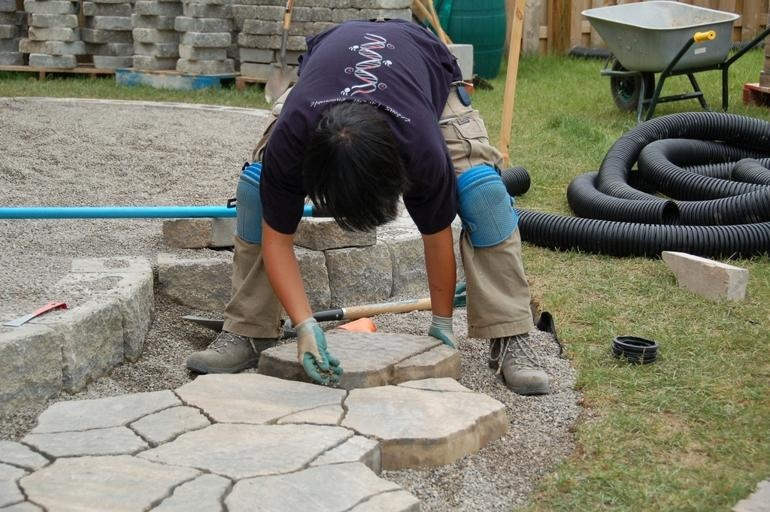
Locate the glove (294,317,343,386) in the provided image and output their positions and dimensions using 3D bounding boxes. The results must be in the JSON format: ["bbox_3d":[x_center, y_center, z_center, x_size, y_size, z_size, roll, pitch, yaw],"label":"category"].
[{"bbox_3d":[-0.292,0.470,3.829,0.177,0.325,0.144,-13,-31,3],"label":"glove"}]

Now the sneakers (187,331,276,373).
[{"bbox_3d":[-0.755,0.468,4.237,0.466,0.218,0.175,1,6,-32],"label":"sneakers"}]

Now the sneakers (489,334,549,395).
[{"bbox_3d":[0.648,0.530,4.099,0.158,0.236,0.376,-8,10,-23],"label":"sneakers"}]
